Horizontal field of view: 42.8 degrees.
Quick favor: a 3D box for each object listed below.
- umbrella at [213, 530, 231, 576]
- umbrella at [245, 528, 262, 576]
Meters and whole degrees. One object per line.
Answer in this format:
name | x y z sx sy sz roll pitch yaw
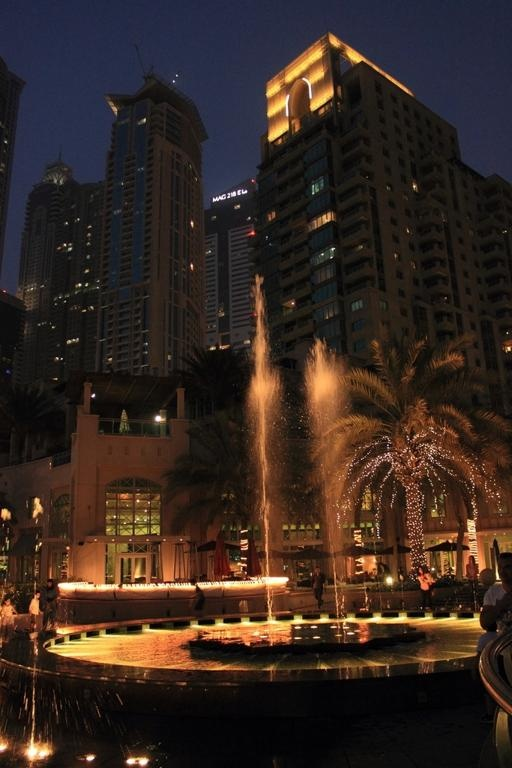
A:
umbrella | -1.193 6.148 23.096 0.531 1.307 1.629 -1 -13 -2
umbrella | -0.107 6.109 23.175 0.462 1.298 0.849 -2 -13 3
